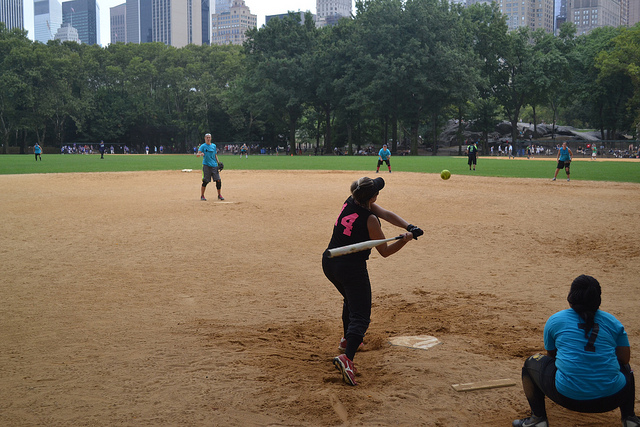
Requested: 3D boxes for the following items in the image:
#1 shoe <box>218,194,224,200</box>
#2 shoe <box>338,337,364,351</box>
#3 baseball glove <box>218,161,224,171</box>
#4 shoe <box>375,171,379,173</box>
[{"bbox_3d":[-4.295,-0.734,33.097,0.232,0.221,0.551,1,6,-4],"label":"shoe"},{"bbox_3d":[0.801,3.746,21.899,0.281,0.337,0.801,-1,-3,19],"label":"shoe"},{"bbox_3d":[-4.297,-2.078,33.002,0.250,0.330,0.345,0,5,-4],"label":"baseball glove"},{"bbox_3d":[3.423,-2.545,45.866,0.253,0.121,0.356,5,1,-4],"label":"shoe"}]
